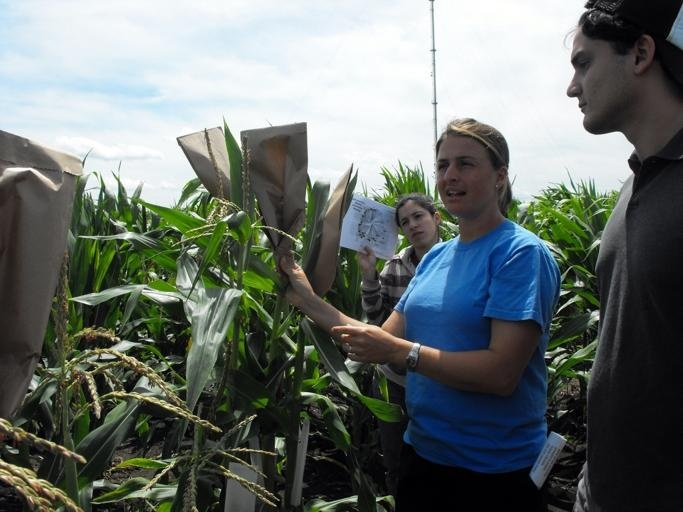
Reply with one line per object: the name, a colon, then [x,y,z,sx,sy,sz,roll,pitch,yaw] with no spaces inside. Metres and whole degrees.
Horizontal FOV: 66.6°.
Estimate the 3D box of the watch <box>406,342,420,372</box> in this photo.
watch: [0.218,0.305,1.572,0.040,0.078,0.074,18,-12,14]
